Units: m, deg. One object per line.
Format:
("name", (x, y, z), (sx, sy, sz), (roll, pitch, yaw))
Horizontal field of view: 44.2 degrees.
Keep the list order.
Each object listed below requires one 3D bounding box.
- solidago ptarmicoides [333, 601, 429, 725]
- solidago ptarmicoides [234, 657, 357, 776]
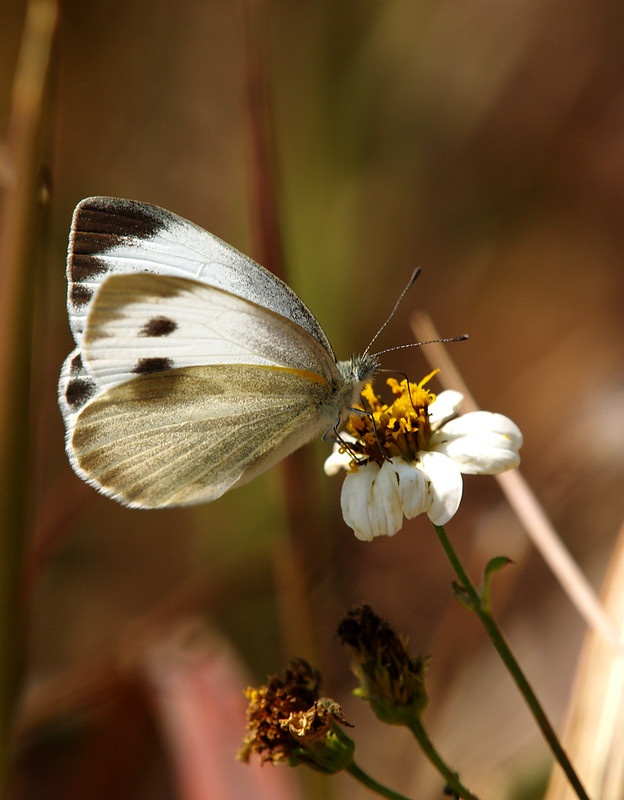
("solidago ptarmicoides", (0.130, 0.481, 1.410), (0.131, 0.178, 0.104), (-24, -12, -9))
("solidago ptarmicoides", (-0.035, 0.630, 1.519), (0.239, 0.159, 0.160), (-26, -11, 11))
